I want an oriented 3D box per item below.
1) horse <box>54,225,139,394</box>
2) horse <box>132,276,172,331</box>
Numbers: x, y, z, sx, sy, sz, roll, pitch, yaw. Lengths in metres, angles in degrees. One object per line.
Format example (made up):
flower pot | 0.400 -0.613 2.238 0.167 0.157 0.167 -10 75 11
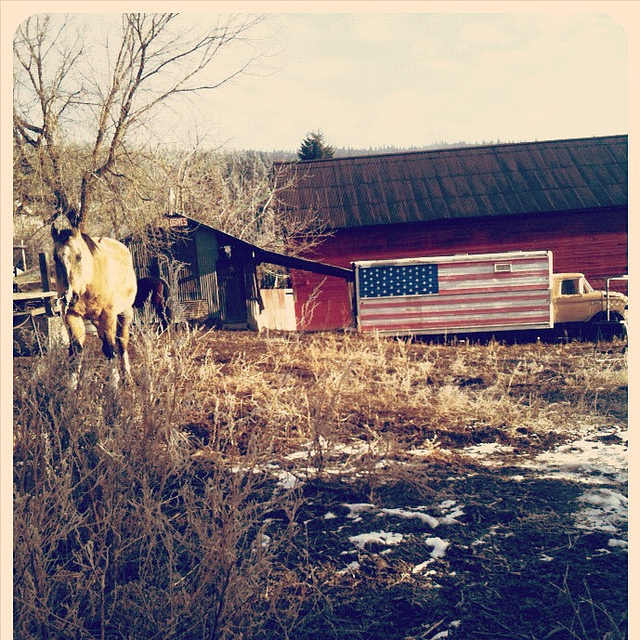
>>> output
horse | -2.985 -0.089 11.394 0.794 2.153 3.201 -2 2 -1
horse | -2.854 -0.292 14.082 0.584 0.886 1.338 -1 -1 -12
